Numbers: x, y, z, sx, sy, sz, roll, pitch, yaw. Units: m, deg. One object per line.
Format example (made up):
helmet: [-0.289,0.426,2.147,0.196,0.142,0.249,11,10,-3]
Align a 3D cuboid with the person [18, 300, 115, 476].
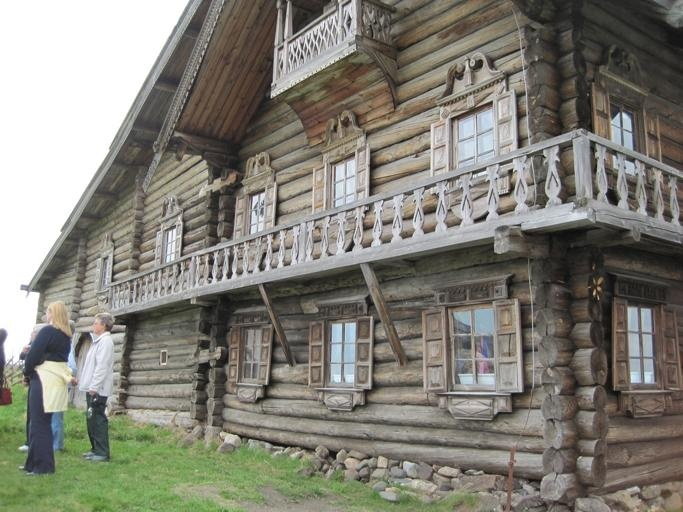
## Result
person: [-4.372,1.948,8.869,0.693,2.526,0.460,8,-10,-29]
